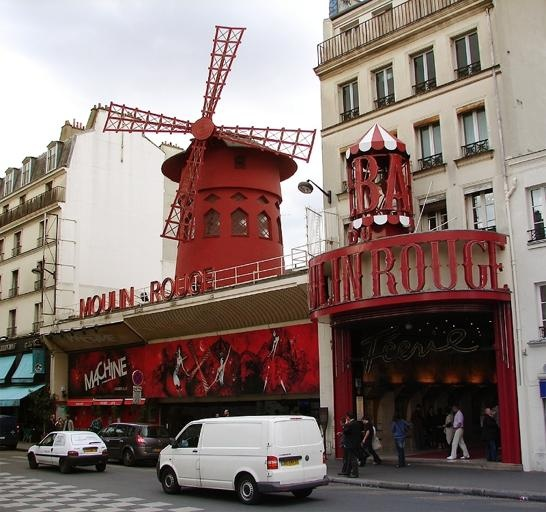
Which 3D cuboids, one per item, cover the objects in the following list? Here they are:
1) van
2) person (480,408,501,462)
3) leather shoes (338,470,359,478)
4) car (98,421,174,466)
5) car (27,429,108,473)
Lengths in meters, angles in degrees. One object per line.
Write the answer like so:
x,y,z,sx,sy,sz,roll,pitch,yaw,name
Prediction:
-0.651,3.857,13.105,3.074,1.277,1.599,-10,-22,39,van
5.381,4.395,16.576,0.383,1.231,0.973,-5,-11,17,person
1.704,4.935,15.127,0.484,0.219,0.150,-2,-5,-1,leather shoes
-4.005,5.284,19.640,1.566,1.023,2.581,10,-12,-42,car
-5.306,4.978,17.506,1.765,0.758,1.120,-8,-15,43,car
